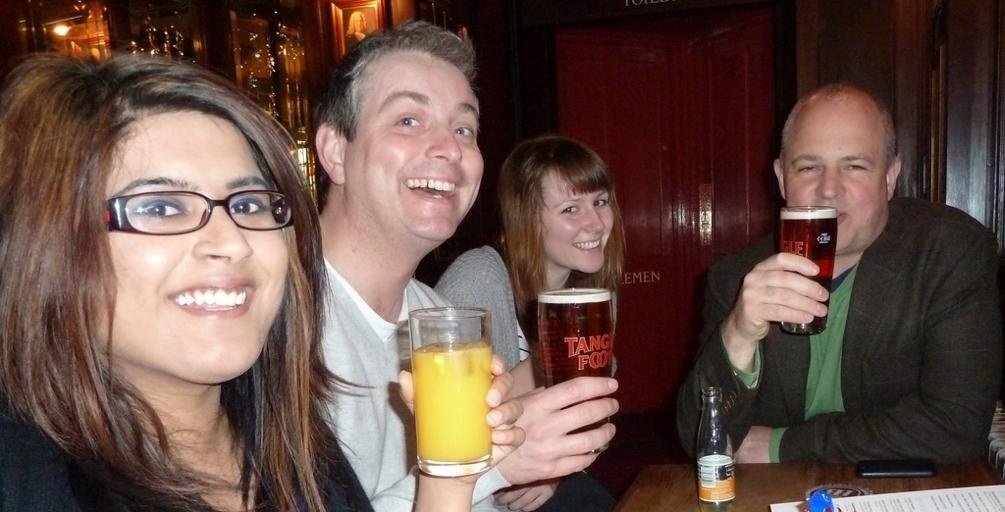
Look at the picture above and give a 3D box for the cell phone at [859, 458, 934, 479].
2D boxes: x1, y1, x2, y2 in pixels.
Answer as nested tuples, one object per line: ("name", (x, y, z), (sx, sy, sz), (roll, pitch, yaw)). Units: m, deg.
("cell phone", (1.803, 0.971, 3.089), (0.260, 0.026, 0.125), (-1, 4, 8))
